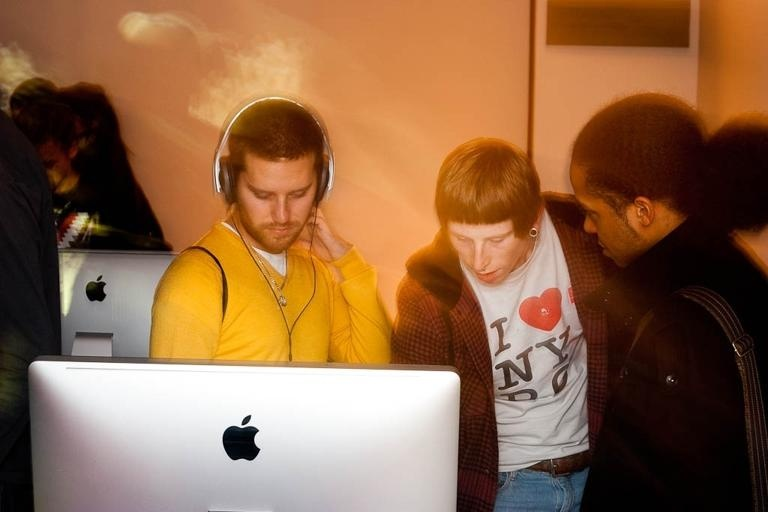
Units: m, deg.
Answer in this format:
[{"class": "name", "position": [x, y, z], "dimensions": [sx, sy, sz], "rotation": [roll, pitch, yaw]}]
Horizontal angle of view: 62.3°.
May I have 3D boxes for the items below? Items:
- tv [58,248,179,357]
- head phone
[{"class": "tv", "position": [-1.038, 0.158, 2.516], "dimensions": [0.507, 0.523, 0.370], "rotation": [1, -1, 2]}, {"class": "head phone", "position": [-0.438, -0.408, 2.395], "dimensions": [0.353, 0.326, 0.142], "rotation": [3, 7, -11]}]
